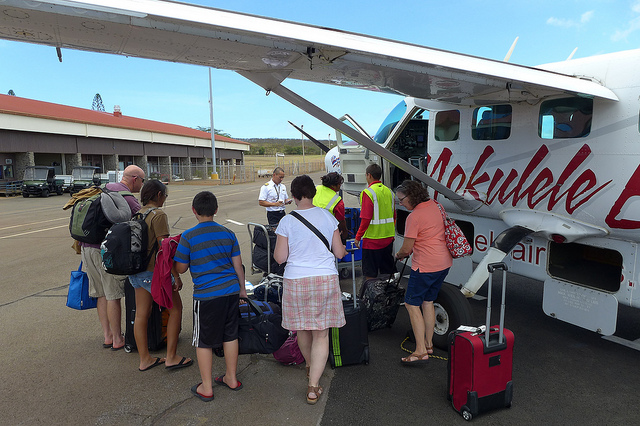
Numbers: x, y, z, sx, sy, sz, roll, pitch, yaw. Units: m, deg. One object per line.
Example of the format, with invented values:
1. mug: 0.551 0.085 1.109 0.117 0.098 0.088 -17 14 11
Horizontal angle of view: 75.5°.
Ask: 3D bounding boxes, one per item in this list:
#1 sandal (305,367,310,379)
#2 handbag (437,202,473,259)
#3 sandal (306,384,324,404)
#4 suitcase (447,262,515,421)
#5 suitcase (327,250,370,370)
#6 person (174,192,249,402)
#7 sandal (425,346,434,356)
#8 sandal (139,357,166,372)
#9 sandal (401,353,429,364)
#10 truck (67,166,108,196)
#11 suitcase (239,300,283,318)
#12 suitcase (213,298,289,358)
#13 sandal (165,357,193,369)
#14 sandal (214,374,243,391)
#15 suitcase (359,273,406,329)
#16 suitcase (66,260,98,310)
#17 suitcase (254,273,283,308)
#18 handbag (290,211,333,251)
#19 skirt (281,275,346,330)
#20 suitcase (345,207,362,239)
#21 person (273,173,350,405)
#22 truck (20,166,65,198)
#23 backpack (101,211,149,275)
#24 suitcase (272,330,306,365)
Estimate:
1. sandal: -0.143 2.002 5.207 0.082 0.108 0.038 1 2 37
2. handbag: 1.711 0.232 5.287 0.402 0.663 0.283 1 11 22
3. sandal: -0.061 2.114 4.827 0.147 0.201 0.114 -3 10 0
4. suitcase: 1.822 1.478 4.651 0.710 1.571 0.406 -5 10 -12
5. suitcase: 0.221 1.237 5.544 0.673 1.593 0.686 0 -4 -22
6. person: -1.215 0.982 4.833 0.767 2.418 0.390 -4 10 -10
7. sandal: 1.456 1.816 5.495 0.057 0.179 0.069 -4 3 4
8. sandal: -2.119 1.957 5.370 0.107 0.066 0.280 1 4 35
9. sandal: 1.225 1.907 5.425 0.374 0.152 0.140 0 -3 4
10. truck: -14.522 -2.273 26.582 1.616 1.649 2.682 2 21 4
11. suitcase: -0.752 1.248 5.382 0.415 0.152 0.254 2 -1 -19
12. suitcase: -0.842 1.384 5.173 0.909 0.786 0.378 -12 1 24
13. sandal: -1.799 1.979 5.430 0.269 0.080 0.109 -3 1 -32
14. sandal: -1.110 2.086 5.080 0.345 0.096 0.135 19 14 35
15. suitcase: 0.827 1.234 5.879 0.506 0.837 0.457 -6 32 -26
16. suitcase: -3.259 1.028 5.707 0.347 0.752 0.499 -9 12 -32
17. suitcase: -0.695 1.149 6.118 0.487 0.495 0.351 4 1 6
18. handbag: -0.104 0.207 4.701 0.067 0.592 0.062 -44 6 8
19. skirt: -0.082 1.030 4.891 0.798 0.633 0.504 -2 0 4
20. suitcase: 0.691 0.196 8.433 0.309 0.591 0.502 -2 10 3
21. person: -0.080 0.882 4.868 0.706 2.627 0.642 1 11 20
22. truck: -17.016 -2.031 25.892 1.456 1.801 3.040 2 9 -7
23. backpack: -2.444 0.400 5.233 0.633 0.842 0.482 -7 -6 26
24. suitcase: -0.368 1.779 5.510 0.247 0.471 0.321 8 -11 -44
